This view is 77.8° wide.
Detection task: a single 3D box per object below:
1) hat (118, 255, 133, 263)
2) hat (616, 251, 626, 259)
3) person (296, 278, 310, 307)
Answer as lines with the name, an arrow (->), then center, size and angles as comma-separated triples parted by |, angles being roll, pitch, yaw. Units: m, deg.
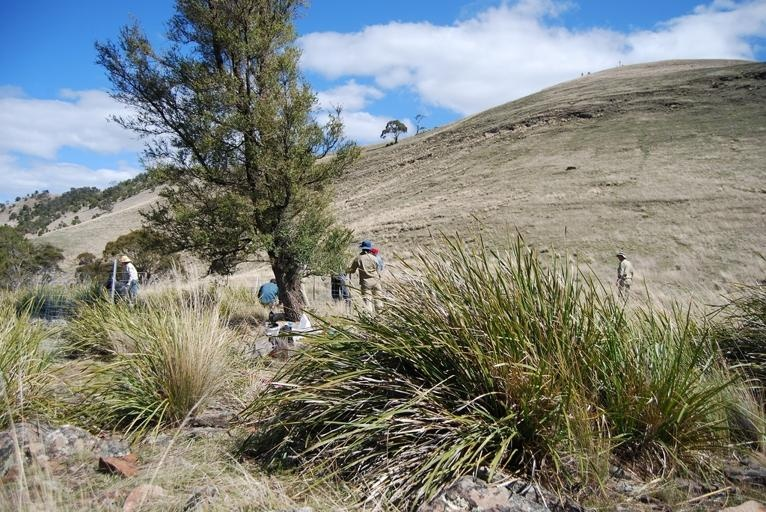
hat -> -5.659, 0.048, 10.440 | 0.238, 0.093, 0.240 | -8, -11, -13
hat -> 8.729, -0.037, 17.560 | 0.328, 0.139, 0.452 | 0, -13, 15
person -> -2.213, 1.017, 13.111 | 0.177, 1.010, 0.134 | 0, 20, 34
